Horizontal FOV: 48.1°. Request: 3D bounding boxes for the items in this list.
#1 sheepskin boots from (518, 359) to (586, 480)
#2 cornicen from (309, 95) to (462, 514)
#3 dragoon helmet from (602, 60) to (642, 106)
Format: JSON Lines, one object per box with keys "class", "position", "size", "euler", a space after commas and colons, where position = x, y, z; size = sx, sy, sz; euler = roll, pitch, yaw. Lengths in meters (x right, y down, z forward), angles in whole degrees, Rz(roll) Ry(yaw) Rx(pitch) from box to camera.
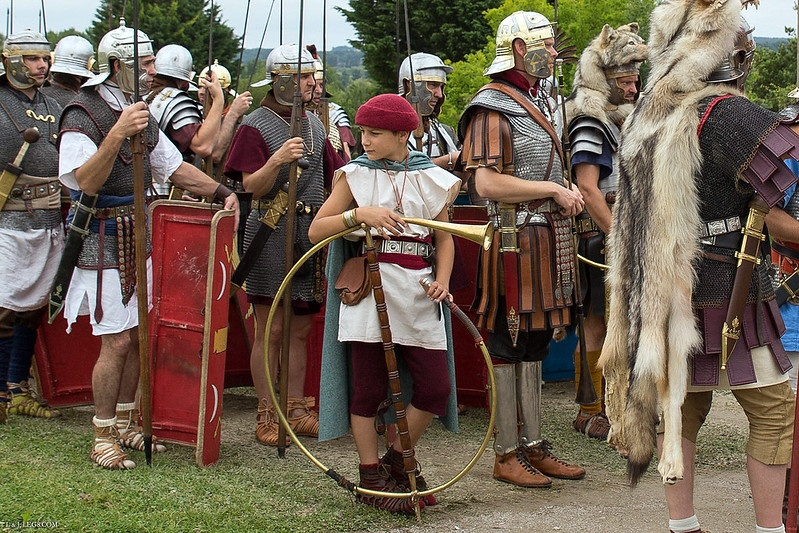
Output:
{"class": "sheepskin boots", "position": [0.923, 1.002, 6.213], "size": [0.436, 0.816, 0.805], "euler": [-1, 0, -15]}
{"class": "cornicen", "position": [-0.172, 0.212, 5.742], "size": [0.990, 2.453, 1.137], "euler": [0, 1, -9]}
{"class": "dragoon helmet", "position": [1.694, -1.388, 6.762], "size": [0.359, 0.332, 0.281], "euler": [-1, 4, 42]}
